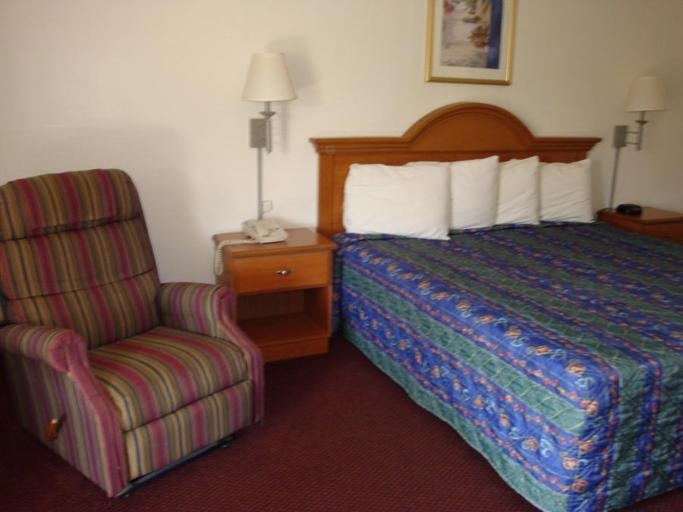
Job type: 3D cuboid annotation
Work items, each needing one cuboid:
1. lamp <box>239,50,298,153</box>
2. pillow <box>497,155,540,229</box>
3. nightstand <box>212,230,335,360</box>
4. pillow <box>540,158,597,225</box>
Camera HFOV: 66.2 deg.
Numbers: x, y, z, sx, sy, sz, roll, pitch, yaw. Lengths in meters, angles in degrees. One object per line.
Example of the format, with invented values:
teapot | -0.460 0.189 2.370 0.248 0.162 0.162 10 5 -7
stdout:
lamp | -0.440 -1.017 3.499 0.311 0.636 0.364 5 17 20
pillow | 1.416 -0.513 4.158 0.489 0.442 0.151 -3 1 -18
nightstand | -0.435 0.236 3.391 0.887 0.713 0.550 -7 18 -23
pillow | 1.844 -0.523 4.379 0.581 0.458 0.152 -5 -2 -14
